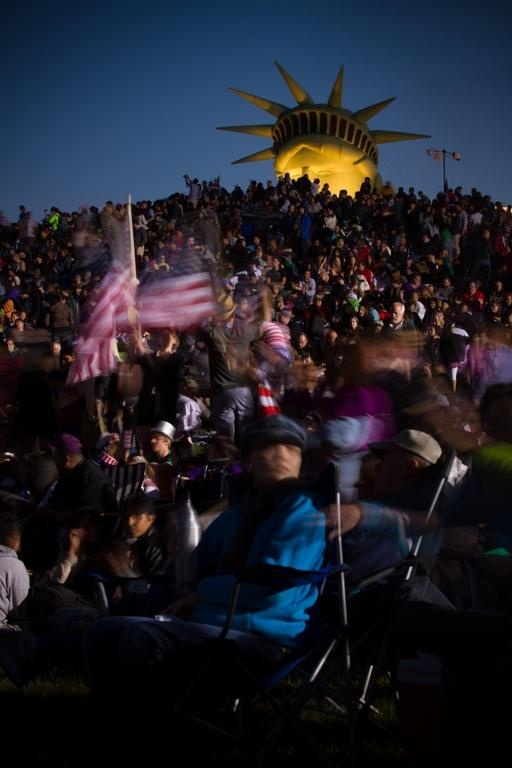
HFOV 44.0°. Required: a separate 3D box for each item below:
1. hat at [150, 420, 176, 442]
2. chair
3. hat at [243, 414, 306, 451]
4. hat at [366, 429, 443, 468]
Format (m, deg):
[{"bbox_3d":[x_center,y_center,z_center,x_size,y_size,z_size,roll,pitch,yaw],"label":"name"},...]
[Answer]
[{"bbox_3d":[-0.783,0.398,5.320,0.155,0.086,0.172,16,-6,28],"label":"hat"},{"bbox_3d":[-0.126,0.749,2.167,0.797,1.009,0.649,0,9,7],"label":"chair"},{"bbox_3d":[0.069,0.187,2.357,0.238,0.134,0.112,-1,9,-1],"label":"hat"},{"bbox_3d":[0.620,0.255,2.541,0.221,0.105,0.143,10,-16,13],"label":"hat"}]
